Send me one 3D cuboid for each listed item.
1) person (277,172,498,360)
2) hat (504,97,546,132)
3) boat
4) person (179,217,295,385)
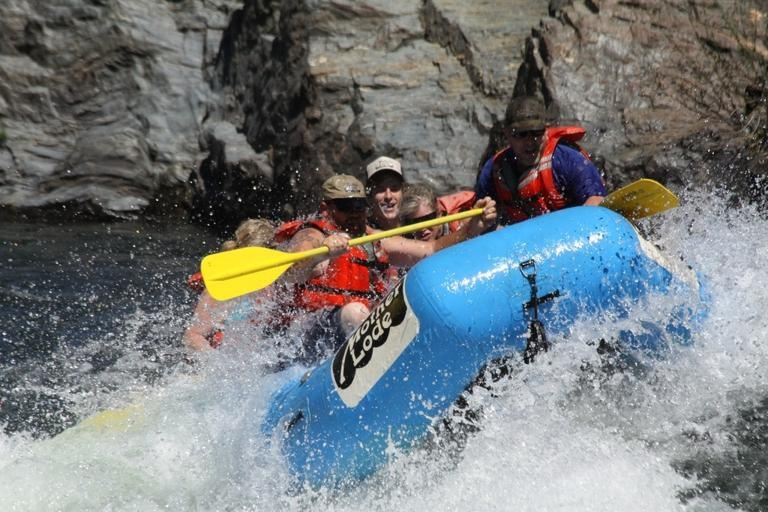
[{"bbox_3d":[0.041,0.147,8.955,1.245,0.961,1.988,31,115,8],"label":"person"},{"bbox_3d":[1.444,-1.435,9.628,0.382,0.293,0.373,3,70,-6],"label":"hat"},{"bbox_3d":[0.885,0.709,8.348,3.967,1.848,1.051,-35,57,19],"label":"boat"},{"bbox_3d":[-1.605,0.415,9.503,0.634,0.229,1.794,36,102,5],"label":"person"}]
